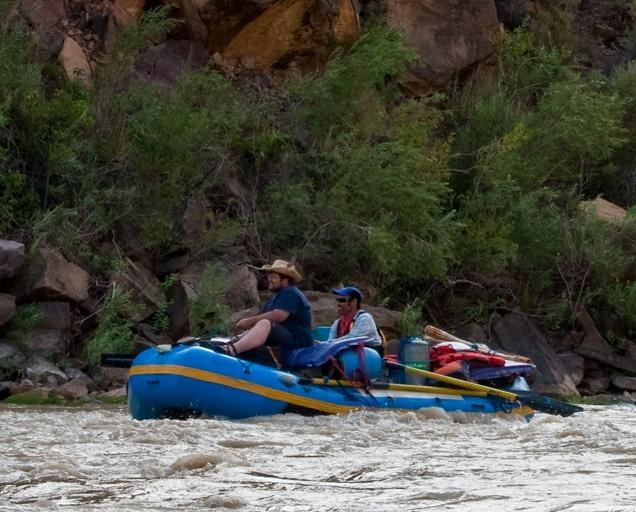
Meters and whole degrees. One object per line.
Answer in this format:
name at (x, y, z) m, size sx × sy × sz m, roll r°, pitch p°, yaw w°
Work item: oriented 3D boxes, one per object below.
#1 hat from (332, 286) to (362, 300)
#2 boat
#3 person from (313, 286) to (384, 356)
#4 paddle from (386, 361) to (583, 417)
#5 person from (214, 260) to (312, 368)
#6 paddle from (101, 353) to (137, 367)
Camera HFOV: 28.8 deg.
hat at (0.429, 0.559, 18.853) m, size 0.330 × 0.120 × 0.211 m, roll 8°, pitch -3°, yaw -12°
boat at (-0.357, 1.979, 18.344) m, size 3.839 × 0.925 × 1.892 m, roll 9°, pitch -9°, yaw -25°
person at (0.462, 1.087, 19.004) m, size 1.004 × 1.256 × 0.864 m, roll 7°, pitch -23°, yaw -16°
paddle at (2.478, 2.116, 19.596) m, size 2.406 × 0.196 × 0.325 m, roll 15°, pitch -20°, yaw -8°
person at (-0.905, 0.919, 19.167) m, size 1.510 × 1.577 × 1.158 m, roll 3°, pitch -7°, yaw -6°
paddle at (-2.899, 1.548, 18.346) m, size 0.664 × 0.197 × 0.208 m, roll 3°, pitch 4°, yaw -40°
